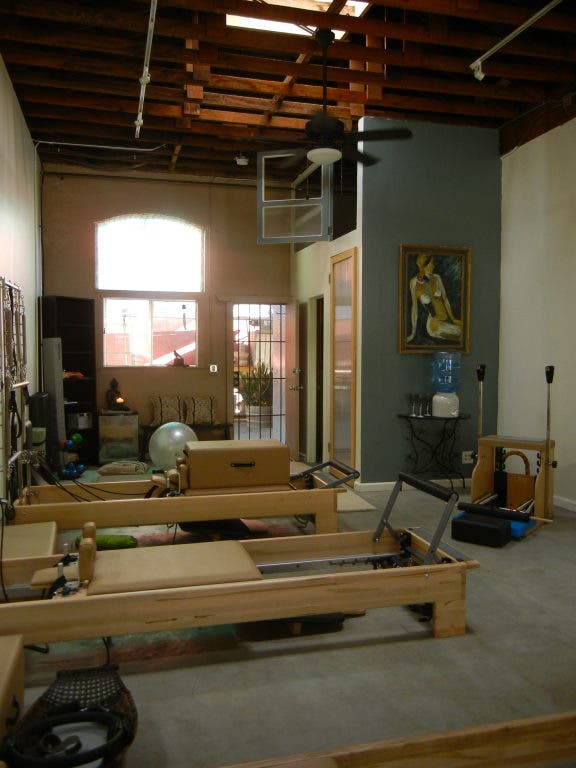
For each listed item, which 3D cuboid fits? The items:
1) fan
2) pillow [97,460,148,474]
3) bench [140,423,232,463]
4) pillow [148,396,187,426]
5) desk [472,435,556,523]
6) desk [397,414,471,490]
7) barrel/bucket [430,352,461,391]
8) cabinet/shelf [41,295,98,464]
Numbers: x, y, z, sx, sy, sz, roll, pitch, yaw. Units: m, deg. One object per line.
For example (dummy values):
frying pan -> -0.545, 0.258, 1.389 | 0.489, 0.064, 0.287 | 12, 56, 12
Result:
fan -> 0.297, -2.091, 4.787 | 1.067, 0.777, 0.999 | -2, -4, -14
pillow -> -1.868, 0.970, 7.344 | 0.513, 0.104, 0.446 | 1, 2, 4
bench -> -1.332, 0.739, 8.515 | 1.238, 0.470, 0.515 | 0, 2, -13
pillow -> -1.565, 0.357, 8.308 | 0.382, 0.330, 0.128 | 1, -23, -13
desk -> 1.828, 0.807, 5.223 | 0.652, 0.666, 0.555 | 1, 1, 35
desk -> 1.433, 0.574, 6.448 | 0.532, 0.477, 0.499 | -2, -13, 16
barrel/bucket -> 1.568, -0.120, 6.403 | 0.273, 0.379, 0.178 | 1, 2, 10
cabinet/shelf -> -2.640, -0.033, 7.973 | 0.500, 2.082, 1.034 | 1, 2, 4
